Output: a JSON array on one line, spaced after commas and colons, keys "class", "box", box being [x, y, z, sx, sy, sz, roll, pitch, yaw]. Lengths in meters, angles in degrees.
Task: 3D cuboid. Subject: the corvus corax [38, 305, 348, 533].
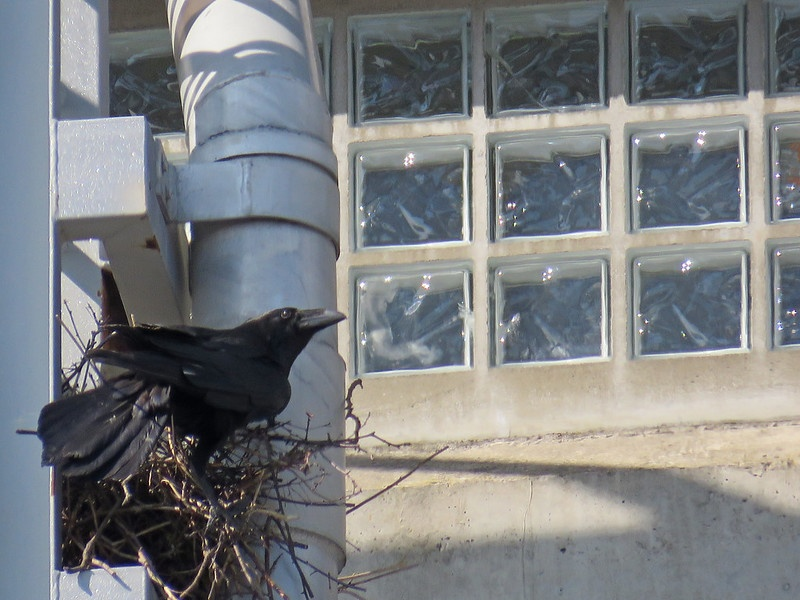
[{"class": "corvus corax", "box": [-0.460, 0.202, 6.083, 0.636, 0.506, 0.306, 12, 1, -16]}]
